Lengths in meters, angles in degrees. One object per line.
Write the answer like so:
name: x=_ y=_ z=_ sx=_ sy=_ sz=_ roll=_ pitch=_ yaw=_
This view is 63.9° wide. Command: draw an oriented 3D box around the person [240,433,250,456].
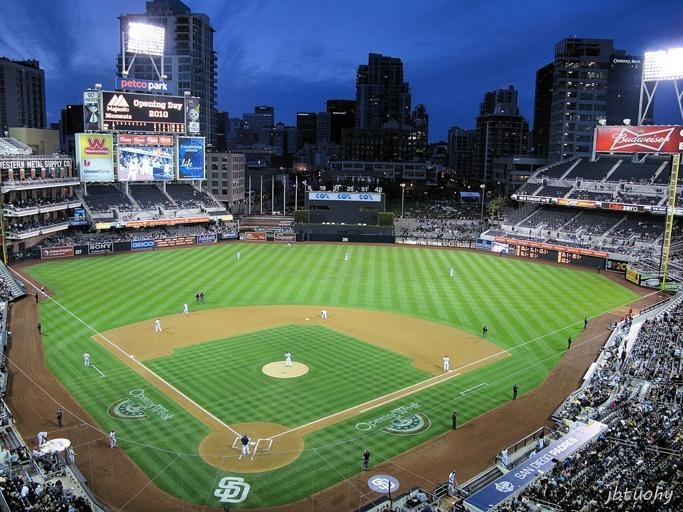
person: x=-5.289 y=10.200 z=30.131 sx=0.446 sy=1.054 sz=1.074 roll=-2 pitch=13 yaw=-10

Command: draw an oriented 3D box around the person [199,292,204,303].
person: x=-13.708 y=3.990 z=53.700 sx=0.328 sy=0.769 sz=0.914 roll=-3 pitch=13 yaw=-14

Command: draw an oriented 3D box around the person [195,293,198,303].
person: x=-14.219 y=3.950 z=53.947 sx=0.326 sy=0.740 sz=1.144 roll=-4 pitch=13 yaw=-18

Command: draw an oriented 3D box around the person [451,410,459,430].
person: x=6.754 y=9.701 z=32.671 sx=0.320 sy=0.973 sz=0.881 roll=3 pitch=13 yaw=12

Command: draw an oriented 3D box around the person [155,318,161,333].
person: x=-15.441 y=5.833 z=45.959 sx=0.397 sy=0.942 sz=0.953 roll=5 pitch=39 yaw=-16

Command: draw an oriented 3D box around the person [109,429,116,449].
person: x=-12.718 y=10.024 z=30.427 sx=0.381 sy=0.920 sz=0.915 roll=-5 pitch=14 yaw=-22
